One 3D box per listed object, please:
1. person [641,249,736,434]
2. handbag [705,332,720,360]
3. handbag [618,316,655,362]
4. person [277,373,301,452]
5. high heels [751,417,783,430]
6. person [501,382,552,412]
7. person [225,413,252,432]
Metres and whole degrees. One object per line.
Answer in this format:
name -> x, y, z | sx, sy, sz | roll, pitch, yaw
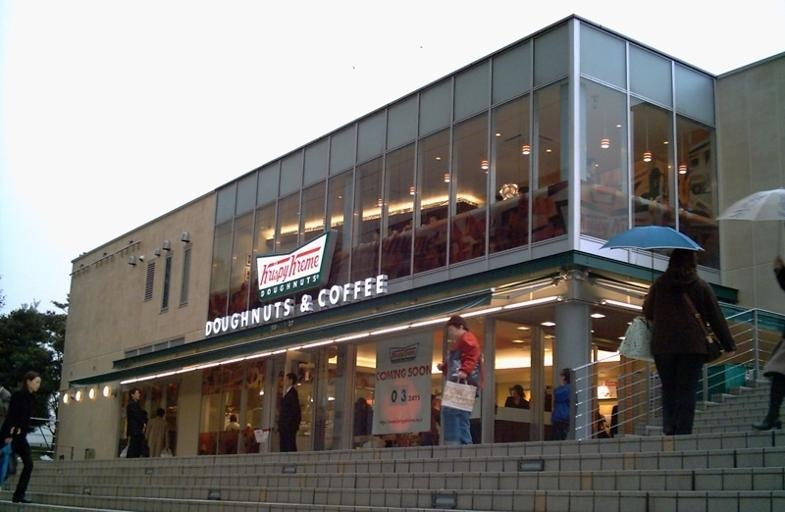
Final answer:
person -> 4.802, 1.389, 15.361 | 1.300, 2.922, 1.028 | -8, -24, 22
handbag -> 5.188, 1.461, 15.321 | 0.227, 0.392, 0.429 | -7, -6, 9
handbag -> 4.047, 1.406, 15.974 | 0.540, 0.704, 0.729 | 3, -5, 14
person -> -2.564, 3.857, 23.362 | 0.498, 2.043, 0.838 | 4, -22, -7
high heels -> 5.987, 2.695, 15.111 | 0.424, 0.184, 0.214 | -10, -24, 25
person -> 3.015, 3.394, 22.484 | 0.840, 0.720, 0.186 | 0, -1, -16
person -> -4.738, 5.178, 29.172 | 0.560, 0.726, 1.006 | 15, -22, -34
